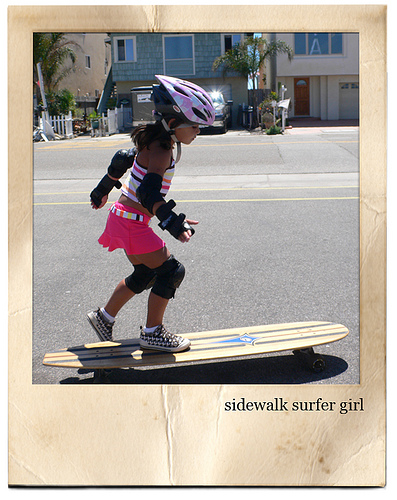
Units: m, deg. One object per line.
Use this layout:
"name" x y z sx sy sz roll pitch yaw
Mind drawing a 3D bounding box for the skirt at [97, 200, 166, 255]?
"skirt" -0.397 -0.103 2.935 0.306 0.288 0.452 13 2 -40

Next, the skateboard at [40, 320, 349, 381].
"skateboard" 0.007 0.639 3.044 1.306 0.160 0.316 -4 9 -4

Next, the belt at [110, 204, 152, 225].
"belt" -0.413 -0.207 2.829 0.150 0.034 0.133 21 10 -8
